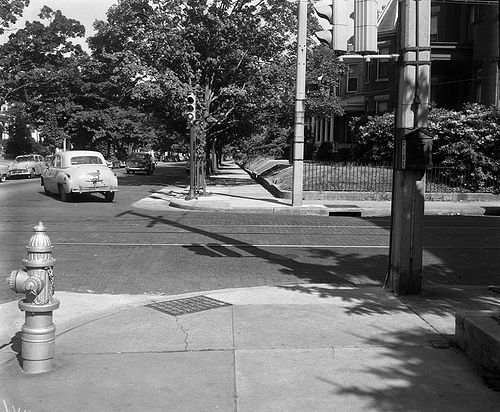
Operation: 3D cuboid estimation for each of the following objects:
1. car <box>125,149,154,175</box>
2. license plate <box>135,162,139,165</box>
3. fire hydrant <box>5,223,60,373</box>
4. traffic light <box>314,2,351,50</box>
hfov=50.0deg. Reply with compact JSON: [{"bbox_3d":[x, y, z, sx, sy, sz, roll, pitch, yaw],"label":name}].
[{"bbox_3d":[-9.985,-3.795,48.014,2.330,1.760,2.215,-3,9,-13],"label":"car"},{"bbox_3d":[-10.075,-3.760,47.346,0.307,0.210,0.182,-2,9,-5],"label":"license plate"},{"bbox_3d":[-1.978,0.835,4.915,0.387,1.328,0.349,-7,11,-32],"label":"fire hydrant"},{"bbox_3d":[1.384,-2.979,8.925,0.530,0.778,0.393,0,9,8],"label":"traffic light"}]
